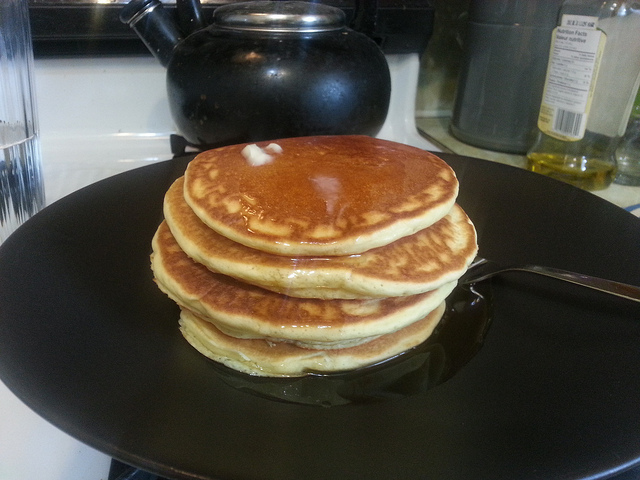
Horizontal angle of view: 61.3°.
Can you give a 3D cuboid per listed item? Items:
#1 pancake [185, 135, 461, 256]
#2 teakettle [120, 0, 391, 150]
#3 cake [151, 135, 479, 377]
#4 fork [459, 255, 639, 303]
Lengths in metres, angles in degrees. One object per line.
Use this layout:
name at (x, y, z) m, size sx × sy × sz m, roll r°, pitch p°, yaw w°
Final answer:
pancake at (-0.003, -0.029, 0.729) m, size 0.264 × 0.043 × 0.211 m, roll 4°, pitch 38°, yaw 2°
teakettle at (-0.140, -0.280, 1.137) m, size 0.436 × 0.314 × 0.369 m, roll 2°, pitch 13°, yaw -9°
cake at (0.001, 0.017, 0.722) m, size 0.359 × 0.149 × 0.348 m, roll -15°, pitch 44°, yaw -20°
fork at (0.335, 0.058, 0.774) m, size 0.256 × 0.037 × 0.030 m, roll 8°, pitch -20°, yaw 41°
